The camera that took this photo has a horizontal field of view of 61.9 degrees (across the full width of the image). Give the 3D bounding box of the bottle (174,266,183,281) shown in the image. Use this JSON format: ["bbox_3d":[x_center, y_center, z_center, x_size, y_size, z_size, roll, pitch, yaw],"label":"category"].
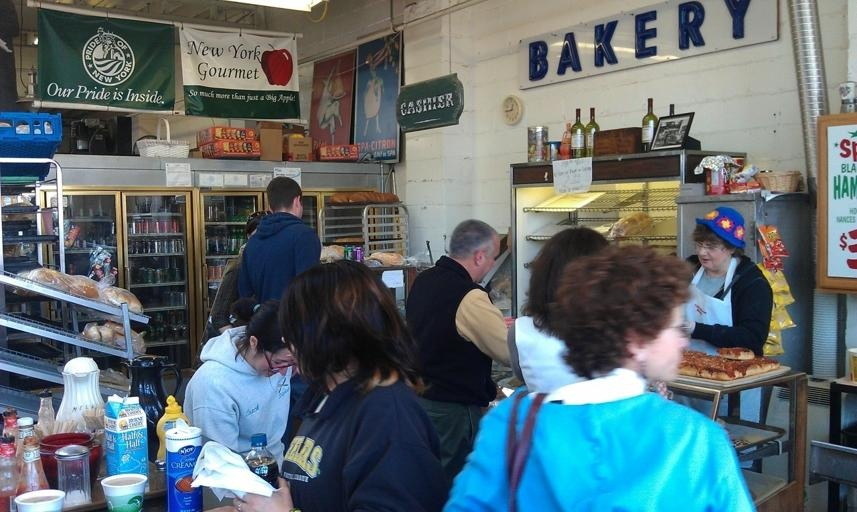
[{"bbox_3d":[-3.169,0.233,8.941,0.141,0.236,0.135,-1,3,0],"label":"bottle"}]

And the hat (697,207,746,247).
[{"bbox_3d":[2.113,-0.173,5.114,0.300,0.153,0.312,29,11,31],"label":"hat"}]

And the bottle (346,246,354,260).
[{"bbox_3d":[-0.894,-0.046,7.841,0.077,0.121,0.301,-4,2,-6],"label":"bottle"}]

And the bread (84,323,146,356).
[{"bbox_3d":[-2.613,0.666,5.914,0.432,0.173,0.314,18,-4,-40],"label":"bread"}]

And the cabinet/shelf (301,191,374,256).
[{"bbox_3d":[-1.307,-0.371,9.330,0.989,0.932,0.738,-4,7,-8],"label":"cabinet/shelf"}]

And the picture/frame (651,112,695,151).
[{"bbox_3d":[2.153,-1.091,6.337,0.436,0.463,0.046,-19,-52,34],"label":"picture/frame"}]

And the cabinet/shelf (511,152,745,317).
[{"bbox_3d":[1.525,-0.238,5.236,1.713,1.533,0.912,-2,-3,42],"label":"cabinet/shelf"}]

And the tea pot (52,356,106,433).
[{"bbox_3d":[-2.094,0.816,4.226,0.276,0.473,0.211,-4,1,-19],"label":"tea pot"}]

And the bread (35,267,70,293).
[{"bbox_3d":[-2.921,0.173,5.471,0.210,0.059,0.195,21,11,-14],"label":"bread"}]

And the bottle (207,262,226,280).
[{"bbox_3d":[-2.633,0.187,8.687,0.228,0.224,0.254,3,2,22],"label":"bottle"}]

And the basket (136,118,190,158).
[{"bbox_3d":[-3.357,-1.444,8.831,0.534,0.512,0.707,-4,2,-23],"label":"basket"}]

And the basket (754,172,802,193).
[{"bbox_3d":[2.891,-0.603,5.866,0.239,0.108,0.230,2,-3,-30],"label":"basket"}]

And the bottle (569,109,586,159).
[{"bbox_3d":[1.398,-1.103,6.783,0.134,0.365,0.151,-4,1,-20],"label":"bottle"}]

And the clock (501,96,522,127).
[{"bbox_3d":[0.959,-1.689,8.360,0.058,0.371,0.393,-3,5,-37],"label":"clock"}]

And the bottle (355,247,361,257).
[{"bbox_3d":[-0.789,-0.037,7.801,0.079,0.120,0.231,-4,2,-6],"label":"bottle"}]

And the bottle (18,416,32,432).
[{"bbox_3d":[-2.288,0.938,4.017,0.073,0.062,0.070,1,4,-20],"label":"bottle"}]
